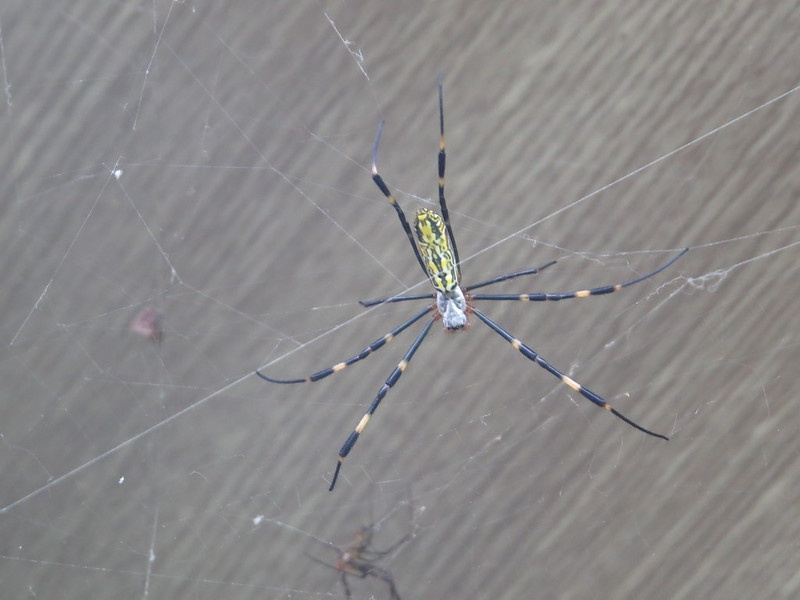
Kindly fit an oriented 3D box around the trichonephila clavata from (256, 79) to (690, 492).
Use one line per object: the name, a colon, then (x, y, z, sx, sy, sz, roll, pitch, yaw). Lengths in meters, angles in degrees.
trichonephila clavata: (0.699, -0.042, 18.250, 4.935, 0.904, 4.379, -7, -83, 2)
